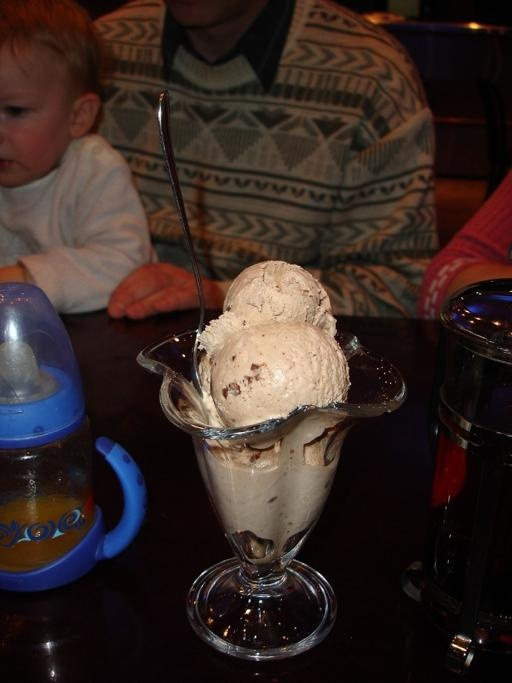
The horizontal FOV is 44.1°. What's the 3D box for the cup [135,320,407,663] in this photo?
[{"bbox_3d":[0.036,0.101,0.539,0.188,0.214,0.238,-9,21,-35],"label":"cup"}]
